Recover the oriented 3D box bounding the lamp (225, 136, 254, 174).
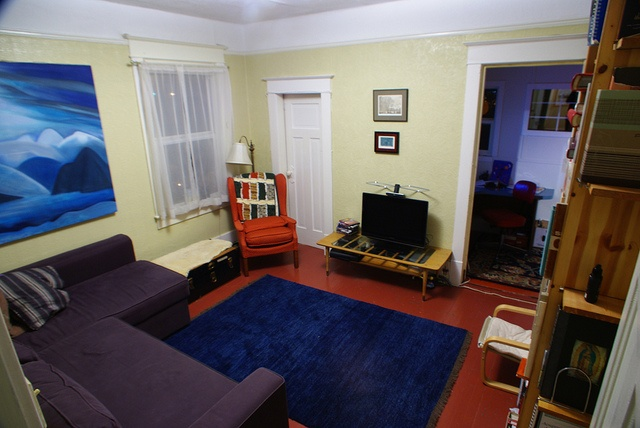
[{"bbox_3d":[-1.074,-0.823,5.583,0.376,0.511,0.524,8,9,40],"label":"lamp"}]

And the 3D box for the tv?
[{"bbox_3d":[0.942,0.113,4.920,0.735,0.519,0.225,8,19,31],"label":"tv"}]

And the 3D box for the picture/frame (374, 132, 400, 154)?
[{"bbox_3d":[0.834,-0.885,4.951,0.270,0.224,0.020,9,19,30],"label":"picture/frame"}]

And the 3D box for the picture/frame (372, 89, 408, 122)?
[{"bbox_3d":[0.851,-1.310,4.828,0.420,0.339,0.029,7,18,27],"label":"picture/frame"}]

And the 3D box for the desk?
[{"bbox_3d":[2.595,0.082,5.857,1.090,0.788,0.959,-1,12,0],"label":"desk"}]

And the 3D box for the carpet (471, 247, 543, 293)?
[{"bbox_3d":[2.386,0.687,5.230,0.654,0.010,0.740,8,21,33],"label":"carpet"}]

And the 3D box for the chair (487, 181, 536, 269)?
[{"bbox_3d":[2.519,0.032,5.526,0.626,0.975,0.606,2,16,5],"label":"chair"}]
